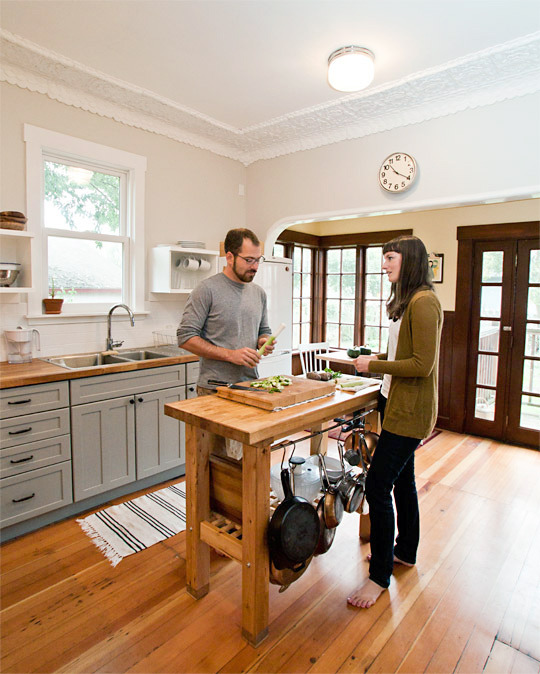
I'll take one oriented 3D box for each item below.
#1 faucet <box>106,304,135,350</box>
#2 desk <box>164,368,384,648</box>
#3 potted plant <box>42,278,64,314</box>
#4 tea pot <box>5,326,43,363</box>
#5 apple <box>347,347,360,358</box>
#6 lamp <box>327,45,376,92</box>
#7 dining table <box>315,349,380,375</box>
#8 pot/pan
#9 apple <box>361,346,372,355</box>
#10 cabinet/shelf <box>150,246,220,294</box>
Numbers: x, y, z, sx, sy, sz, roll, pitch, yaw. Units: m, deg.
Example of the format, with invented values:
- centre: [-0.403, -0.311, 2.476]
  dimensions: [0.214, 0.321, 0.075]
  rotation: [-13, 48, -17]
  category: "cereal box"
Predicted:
- centre: [-1.052, -0.070, 3.397]
  dimensions: [0.195, 0.317, 0.331]
  rotation: [0, 6, -16]
  category: "faucet"
- centre: [0.191, 0.718, 2.218]
  dimensions: [1.190, 0.828, 0.630]
  rotation: [-3, 6, -41]
  category: "desk"
- centre: [-1.375, -0.254, 3.093]
  dimensions: [0.114, 0.227, 0.191]
  rotation: [1, 6, -5]
  category: "potted plant"
- centre: [-1.494, 0.043, 2.884]
  dimensions: [0.162, 0.192, 0.270]
  rotation: [0, 6, -11]
  category: "tea pot"
- centre: [0.670, 0.127, 3.870]
  dimensions: [0.070, 0.070, 0.087]
  rotation: [-1, -2, 20]
  category: "apple"
- centre: [0.434, -1.424, 2.604]
  dimensions: [0.251, 0.207, 0.255]
  rotation: [2, 6, 11]
  category: "lamp"
- centre: [0.586, 0.192, 3.804]
  dimensions: [0.340, 0.314, 0.338]
  rotation: [4, 5, 40]
  category: "dining table"
- centre: [0.137, 0.647, 1.960]
  dimensions: [0.176, 0.759, 0.551]
  rotation: [-1, -5, 40]
  category: "pot/pan"
- centre: [0.583, 0.086, 2.934]
  dimensions: [0.061, 0.023, 0.058]
  rotation: [4, 7, 39]
  category: "apple"
- centre: [-0.641, -0.481, 3.467]
  dimensions: [0.161, 0.304, 0.484]
  rotation: [8, 10, 33]
  category: "cabinet/shelf"
